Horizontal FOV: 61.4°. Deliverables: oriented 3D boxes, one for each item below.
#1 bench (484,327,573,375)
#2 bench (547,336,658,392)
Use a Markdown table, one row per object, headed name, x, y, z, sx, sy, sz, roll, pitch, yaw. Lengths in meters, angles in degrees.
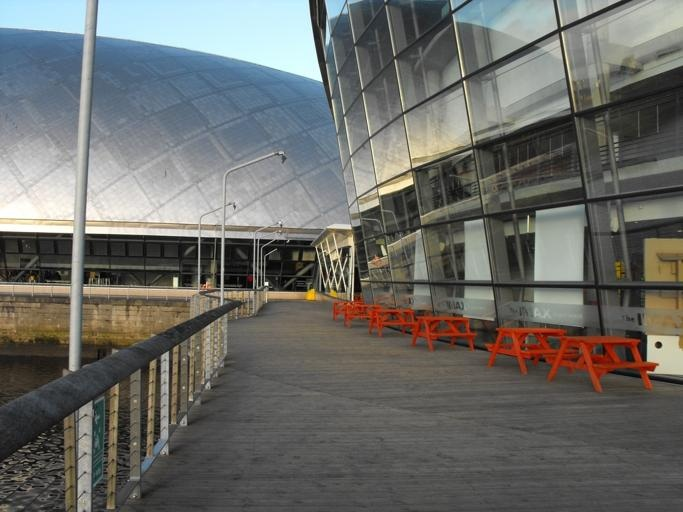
| name | x | y | z | sx | sy | sz | roll | pitch | yaw |
| --- | --- | --- | --- | --- | --- | --- | --- | --- | --- |
| bench | 3.676 | 1.626 | 10.776 | 1.352 | 0.561 | 1.130 | 0 | 16 | -9 |
| bench | 4.215 | 1.702 | 9.450 | 1.160 | 0.542 | 1.318 | 2 | -1 | -17 |
